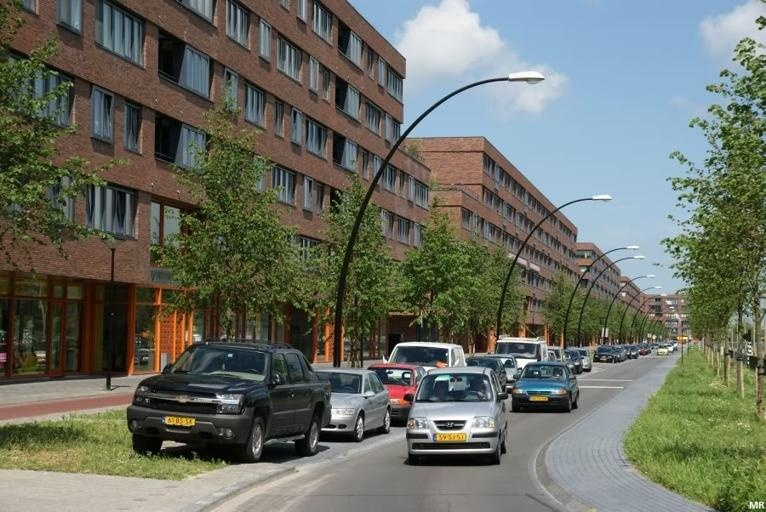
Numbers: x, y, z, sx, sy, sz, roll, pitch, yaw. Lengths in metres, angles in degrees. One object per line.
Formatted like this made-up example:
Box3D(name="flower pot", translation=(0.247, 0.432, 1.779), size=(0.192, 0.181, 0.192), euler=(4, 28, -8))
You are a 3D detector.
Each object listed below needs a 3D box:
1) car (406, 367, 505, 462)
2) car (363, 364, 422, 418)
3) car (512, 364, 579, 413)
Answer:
Box3D(name="car", translation=(1.702, 3.564, 17.352), size=(2.383, 2.282, 1.911), euler=(3, -12, -12))
Box3D(name="car", translation=(0.557, 4.456, 24.115), size=(1.406, 1.801, 3.146), euler=(0, 2, 8))
Box3D(name="car", translation=(6.278, 4.874, 28.983), size=(2.193, 1.765, 4.685), euler=(-2, -6, 22))
